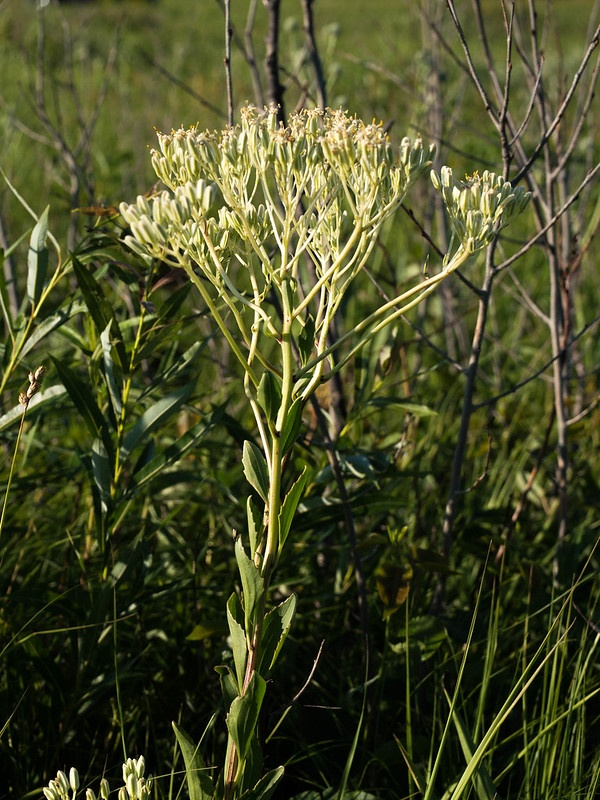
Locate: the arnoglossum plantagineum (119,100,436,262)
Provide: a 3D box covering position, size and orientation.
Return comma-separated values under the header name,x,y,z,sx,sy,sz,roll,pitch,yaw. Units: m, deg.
name,x,y,z,sx,sy,sz,roll,pitch,yaw
arnoglossum plantagineum,-0.036,-0.291,1.254,0.279,0.191,0.263,-14,16,4
